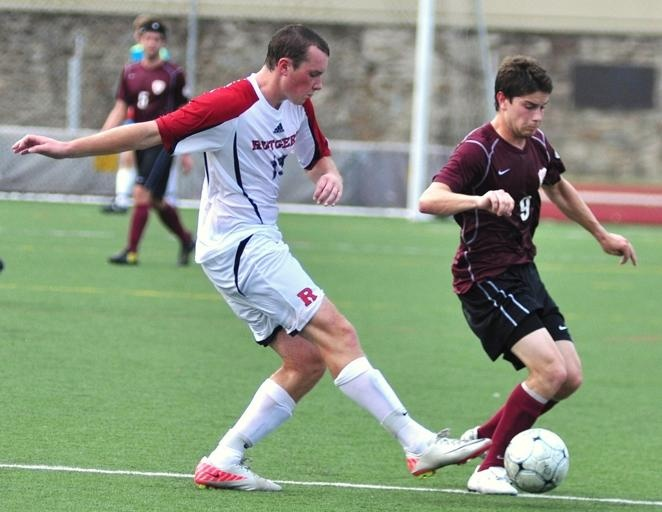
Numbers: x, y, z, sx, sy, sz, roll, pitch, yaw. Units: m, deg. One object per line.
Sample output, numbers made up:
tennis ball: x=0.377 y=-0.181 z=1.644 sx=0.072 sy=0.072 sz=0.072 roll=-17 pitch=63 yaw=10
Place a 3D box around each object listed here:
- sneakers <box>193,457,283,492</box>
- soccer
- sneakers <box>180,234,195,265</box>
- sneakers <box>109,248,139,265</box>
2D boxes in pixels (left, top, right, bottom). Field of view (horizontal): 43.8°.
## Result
sneakers: x=-0.426 y=0.957 z=3.634 sx=0.419 sy=0.171 sz=0.142 roll=6 pitch=-18 yaw=-3
soccer: x=0.918 y=0.912 z=3.694 sx=0.257 sy=0.258 sz=0.264 roll=-19 pitch=-31 yaw=11
sneakers: x=-1.556 y=-0.066 z=8.930 sx=0.095 sy=0.290 sz=0.199 roll=17 pitch=-16 yaw=1
sneakers: x=-1.696 y=0.006 z=6.782 sx=0.237 sy=0.110 sz=0.100 roll=5 pitch=7 yaw=1
